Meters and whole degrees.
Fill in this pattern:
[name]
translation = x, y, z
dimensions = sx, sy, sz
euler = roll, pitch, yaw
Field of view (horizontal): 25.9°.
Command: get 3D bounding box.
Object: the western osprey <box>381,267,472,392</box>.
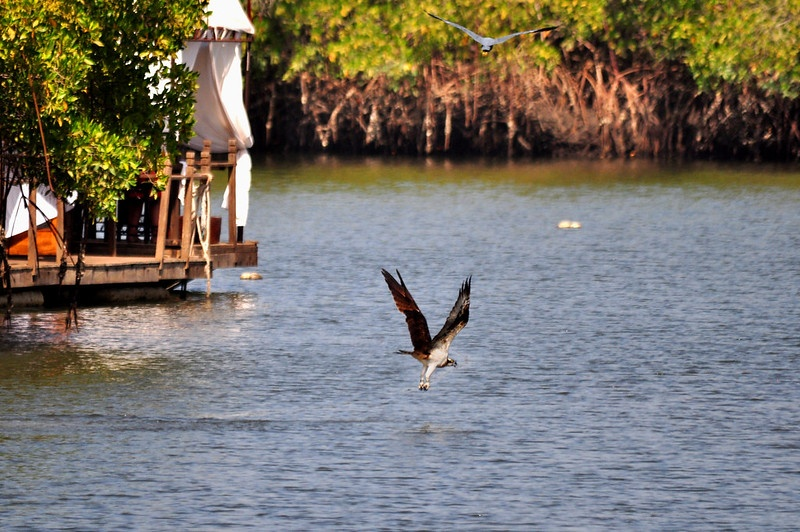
[western osprey]
translation = 0.440, 1.050, 26.970
dimensions = 1.350, 1.612, 1.986
euler = -2, 9, -35
